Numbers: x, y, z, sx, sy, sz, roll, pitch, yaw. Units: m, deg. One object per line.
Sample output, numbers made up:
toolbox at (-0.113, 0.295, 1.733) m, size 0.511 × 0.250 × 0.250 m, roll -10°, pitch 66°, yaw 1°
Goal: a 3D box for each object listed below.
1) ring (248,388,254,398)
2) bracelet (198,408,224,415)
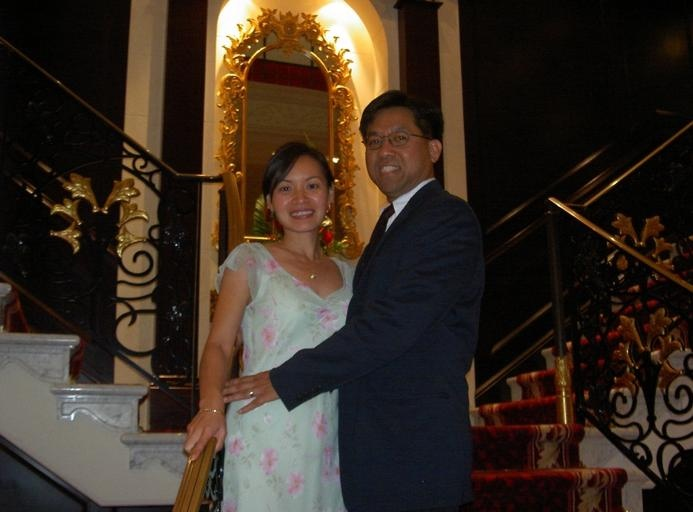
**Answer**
ring at (-0.492, 0.727, 4.847) m, size 0.030 × 0.024 × 0.064 m, roll 6°, pitch -29°, yaw -4°
bracelet at (-0.687, 0.793, 4.738) m, size 0.123 × 0.035 × 0.030 m, roll 4°, pitch -28°, yaw 0°
